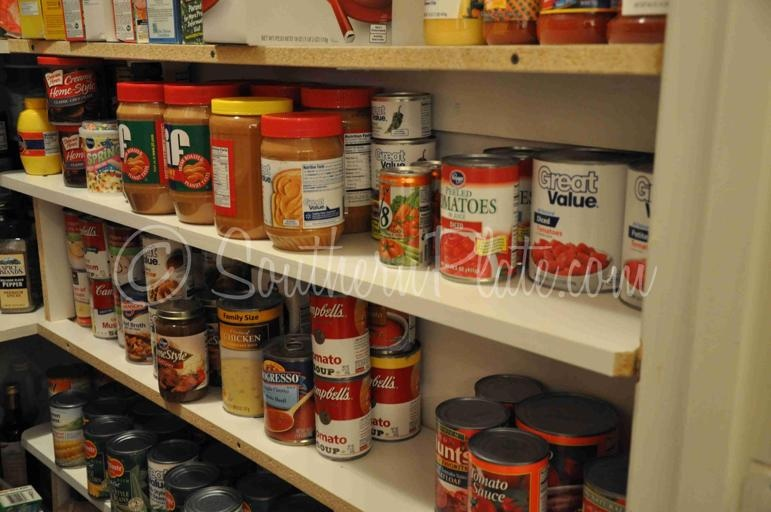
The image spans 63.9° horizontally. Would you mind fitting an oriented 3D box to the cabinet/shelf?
[{"bbox_3d":[-0.114,0.031,1.372,1.359,0.680,0.351,24,32,33],"label":"cabinet/shelf"}]
